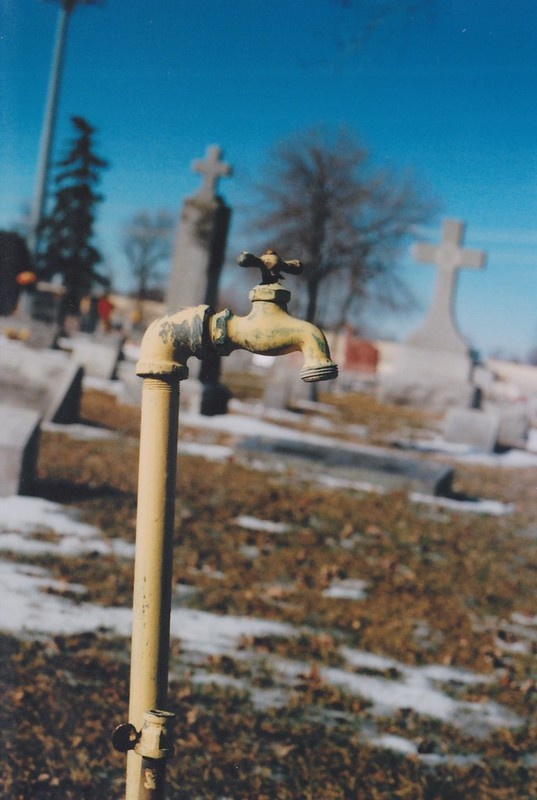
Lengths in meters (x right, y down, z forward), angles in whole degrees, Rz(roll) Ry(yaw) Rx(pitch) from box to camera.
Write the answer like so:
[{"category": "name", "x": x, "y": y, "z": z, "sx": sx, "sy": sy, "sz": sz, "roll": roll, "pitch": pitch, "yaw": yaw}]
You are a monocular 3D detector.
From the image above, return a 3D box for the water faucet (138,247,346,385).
[{"category": "water faucet", "x": -0.053, "y": -0.146, "z": 2.345, "sx": 0.381, "sy": 0.227, "sz": 0.143, "roll": 3, "pitch": 2, "yaw": 22}]
